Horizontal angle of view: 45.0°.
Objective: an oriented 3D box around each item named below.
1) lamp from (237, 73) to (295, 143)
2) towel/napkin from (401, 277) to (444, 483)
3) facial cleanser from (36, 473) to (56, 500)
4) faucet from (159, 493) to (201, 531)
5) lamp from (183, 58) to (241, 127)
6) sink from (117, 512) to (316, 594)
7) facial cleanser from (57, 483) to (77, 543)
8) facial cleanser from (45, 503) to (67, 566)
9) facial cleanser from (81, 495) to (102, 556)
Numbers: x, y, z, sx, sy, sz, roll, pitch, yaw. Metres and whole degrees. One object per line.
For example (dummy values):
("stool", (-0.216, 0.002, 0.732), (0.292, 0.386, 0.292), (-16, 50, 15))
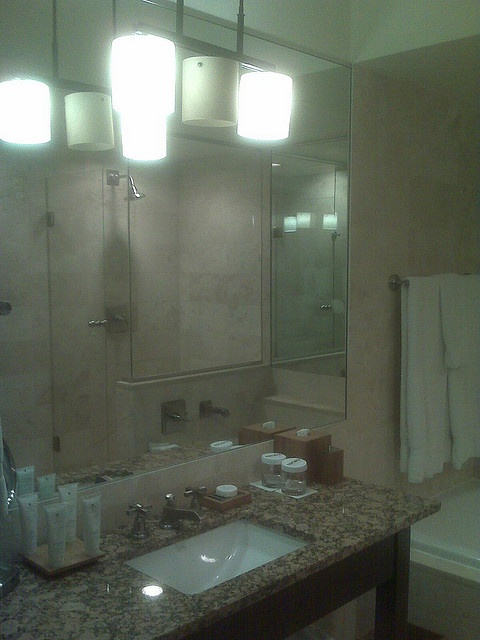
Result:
("lamp", (0.075, -0.626, 1.711), (0.174, 0.173, 0.164), (-10, 17, -43))
("towel/napkin", (0.859, 0.252, 2.619), (0.134, 0.904, 0.451), (5, 4, 37))
("facial cleanser", (-0.441, 0.383, 1.327), (0.017, 0.053, 0.048), (6, 5, 43))
("faucet", (-0.162, 0.497, 1.494), (0.113, 0.070, 0.060), (1, 1, 17))
("lamp", (-0.083, -0.643, 1.641), (0.168, 0.173, 0.163), (4, 23, 7))
("sink", (-0.071, 0.595, 1.474), (0.443, 0.103, 0.196), (1, 3, -17))
("facial cleanser", (-0.367, 0.417, 1.250), (0.041, 0.120, 0.023), (0, -24, -22))
("facial cleanser", (-0.379, 0.443, 1.194), (0.046, 0.126, 0.044), (0, 4, -30))
("facial cleanser", (-0.319, 0.442, 1.246), (0.046, 0.132, 0.037), (0, 4, -30))
